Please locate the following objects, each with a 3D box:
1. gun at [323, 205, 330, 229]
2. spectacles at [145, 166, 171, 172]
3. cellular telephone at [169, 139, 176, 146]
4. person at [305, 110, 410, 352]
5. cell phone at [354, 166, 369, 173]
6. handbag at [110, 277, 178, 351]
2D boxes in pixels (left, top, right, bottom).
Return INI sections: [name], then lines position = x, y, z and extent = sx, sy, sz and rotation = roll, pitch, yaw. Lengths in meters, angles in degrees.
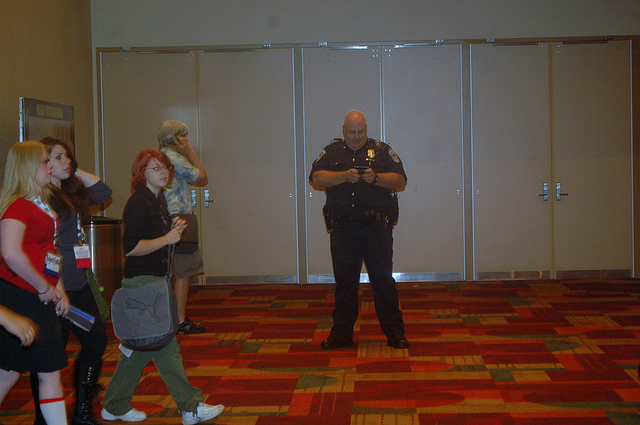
[gun]
position = 0.054, 0.045, 5.101
extent = 0.031, 0.219, 0.123
rotation = -4, 9, -13
[spectacles]
position = -1.245, -0.326, 3.958
extent = 0.158, 0.039, 0.029
rotation = -5, 9, -19
[cellular telephone]
position = -1.556, -0.734, 5.457
extent = 0.055, 0.053, 0.005
rotation = 1, 9, 18
[person]
position = 0.379, 0.172, 5.088
extent = 0.883, 2.252, 0.519
rotation = -1, 8, 3
[cell phone]
position = 0.378, -0.406, 4.930
extent = 0.193, 0.075, 0.050
rotation = 1, -8, -1
[handbag]
position = -1.259, 0.729, 3.727
extent = 0.439, 0.507, 0.239
rotation = -5, 9, -19
